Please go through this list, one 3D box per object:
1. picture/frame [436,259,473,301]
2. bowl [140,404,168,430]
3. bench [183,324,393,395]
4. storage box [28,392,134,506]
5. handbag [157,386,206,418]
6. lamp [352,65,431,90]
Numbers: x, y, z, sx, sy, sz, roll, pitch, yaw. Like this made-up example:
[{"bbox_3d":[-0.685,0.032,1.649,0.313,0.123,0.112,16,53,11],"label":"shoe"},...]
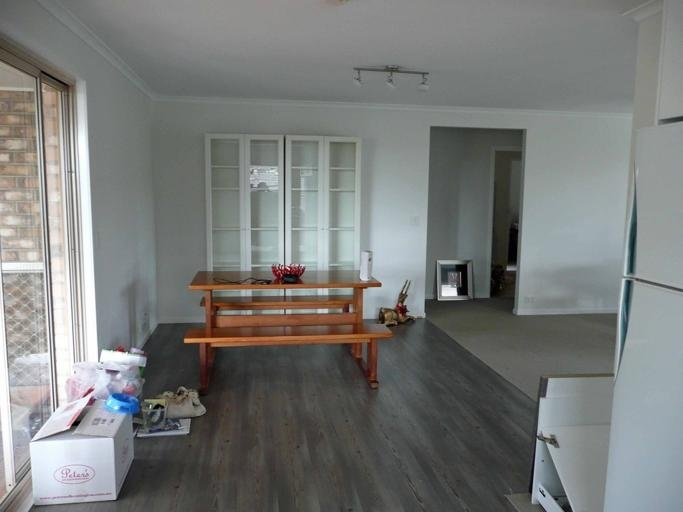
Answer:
[{"bbox_3d":[1.778,0.396,7.531,0.594,0.656,0.050,0,-3,-8],"label":"picture/frame"},{"bbox_3d":[-1.376,1.169,3.516,0.175,0.183,0.146,1,6,-12],"label":"bowl"},{"bbox_3d":[-0.486,0.831,4.541,1.782,0.528,0.971,0,11,-6],"label":"bench"},{"bbox_3d":[-1.590,1.198,2.939,0.470,0.449,0.379,-1,11,-8],"label":"storage box"},{"bbox_3d":[-1.251,1.147,3.755,0.271,0.096,0.205,5,7,-17],"label":"handbag"},{"bbox_3d":[0.502,-1.759,4.760,0.766,0.154,0.638,2,11,7],"label":"lamp"}]
